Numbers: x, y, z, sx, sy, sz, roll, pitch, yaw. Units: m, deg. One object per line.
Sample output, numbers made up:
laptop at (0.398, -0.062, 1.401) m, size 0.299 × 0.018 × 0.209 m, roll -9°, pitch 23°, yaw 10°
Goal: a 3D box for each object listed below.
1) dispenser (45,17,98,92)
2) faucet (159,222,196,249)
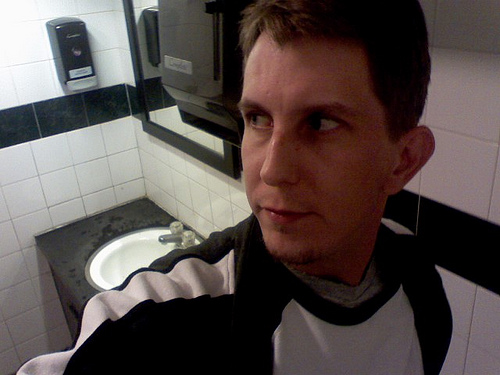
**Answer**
dispenser at (-0.905, -0.708, 2.286) m, size 0.229 × 0.337 × 0.207 m, roll -16°, pitch 15°, yaw -25°
faucet at (-0.351, 0.244, 2.109) m, size 0.141 × 0.074 × 0.202 m, roll 2°, pitch 17°, yaw -3°
